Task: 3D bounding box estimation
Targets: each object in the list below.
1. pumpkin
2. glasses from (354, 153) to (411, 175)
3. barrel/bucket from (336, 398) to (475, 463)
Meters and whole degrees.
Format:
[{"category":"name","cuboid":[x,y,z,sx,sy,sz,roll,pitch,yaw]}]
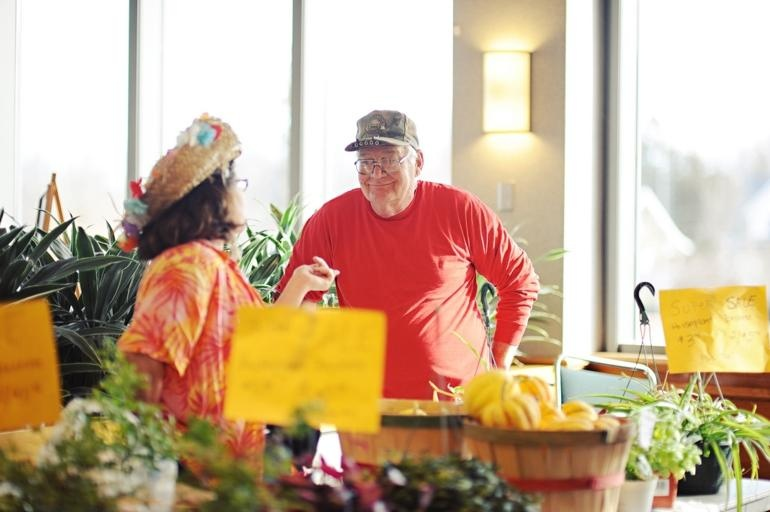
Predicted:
[{"category":"pumpkin","cuboid":[0.375,0.386,2.211,0.227,0.086,0.204,3,-8,23]},{"category":"glasses","cuboid":[-0.018,-0.350,3.325,0.225,0.102,0.091,-1,-5,20]},{"category":"barrel/bucket","cuboid":[0.046,0.459,2.210,0.329,0.160,0.277,1,-5,-2]}]
